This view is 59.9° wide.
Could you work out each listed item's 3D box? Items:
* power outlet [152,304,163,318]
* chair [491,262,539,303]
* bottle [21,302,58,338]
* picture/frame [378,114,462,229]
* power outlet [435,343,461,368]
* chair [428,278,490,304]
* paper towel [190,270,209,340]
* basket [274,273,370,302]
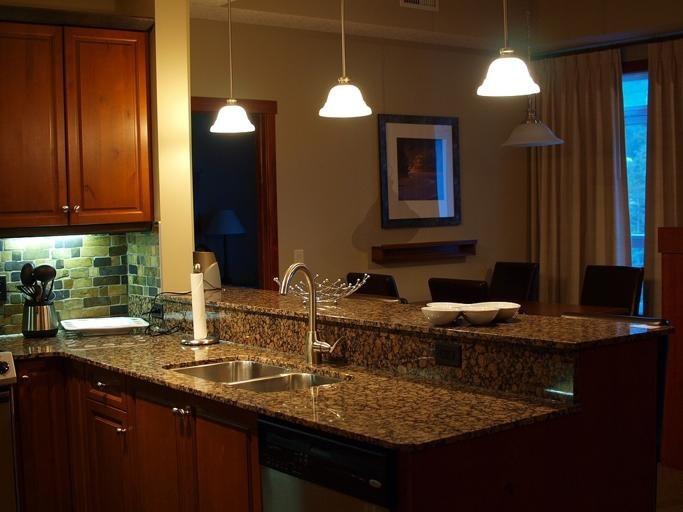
[{"bbox_3d":[-1.125,0.335,3.606,0.074,0.083,0.080,-5,8,-43],"label":"power outlet"},{"bbox_3d":[1.460,0.222,4.986,0.276,0.315,0.488,-9,10,-17],"label":"chair"},{"bbox_3d":[-1.731,0.359,3.437,0.179,0.207,0.187,1,0,5],"label":"bottle"},{"bbox_3d":[0.663,-0.766,5.280,0.946,1.106,0.073,-2,0,-36],"label":"picture/frame"},{"bbox_3d":[0.404,0.372,2.233,0.087,0.082,0.045,3,5,37],"label":"power outlet"},{"bbox_3d":[0.738,0.235,3.790,0.156,0.178,0.478,-10,11,-23],"label":"chair"},{"bbox_3d":[-0.760,0.260,3.140,0.081,0.372,0.080,-1,8,-3],"label":"paper towel"},{"bbox_3d":[-0.142,0.229,4.033,0.346,0.105,0.349,0,0,-42],"label":"basket"}]
